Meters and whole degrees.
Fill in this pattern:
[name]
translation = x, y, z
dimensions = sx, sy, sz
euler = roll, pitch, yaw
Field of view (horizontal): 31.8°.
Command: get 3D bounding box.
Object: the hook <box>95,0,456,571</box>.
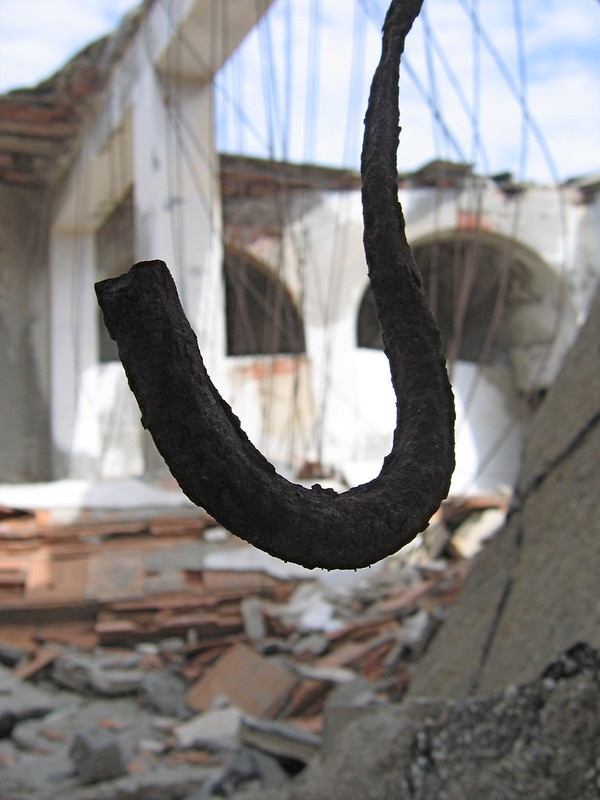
[hook]
translation = 0.035, -0.154, 1.148
dimensions = 0.271, 0.652, 0.419
euler = 7, 8, 36
